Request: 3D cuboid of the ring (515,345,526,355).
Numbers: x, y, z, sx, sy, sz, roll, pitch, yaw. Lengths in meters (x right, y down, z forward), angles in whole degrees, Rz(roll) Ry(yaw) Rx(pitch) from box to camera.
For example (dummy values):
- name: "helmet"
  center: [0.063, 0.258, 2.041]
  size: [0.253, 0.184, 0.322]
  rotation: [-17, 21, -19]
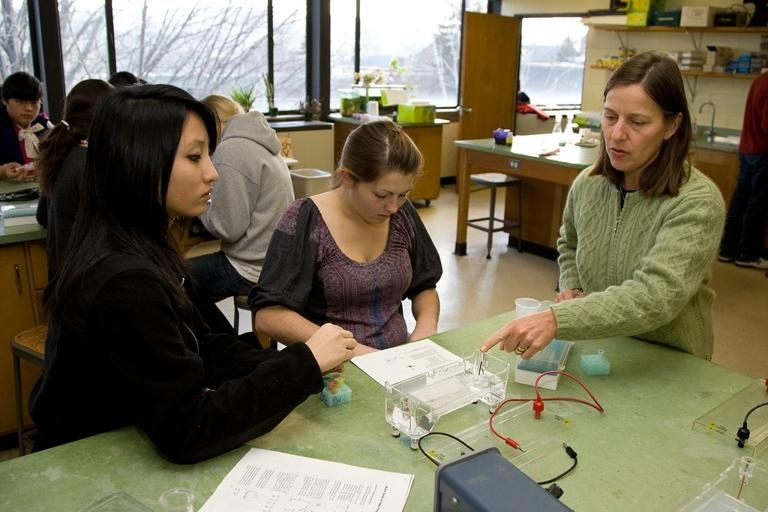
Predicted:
- name: "ring"
  center: [0.445, 0.313, 1.727]
  size: [0.027, 0.010, 0.027]
  rotation: [-10, 50, 13]

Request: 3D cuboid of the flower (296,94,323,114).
- name: "flower"
  center: [-0.954, -1.961, 6.921]
  size: [0.256, 0.163, 0.345]
  rotation: [2, 11, 16]

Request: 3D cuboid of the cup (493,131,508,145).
- name: "cup"
  center: [1.178, -1.209, 5.404]
  size: [0.155, 0.127, 0.117]
  rotation: [9, 31, 23]

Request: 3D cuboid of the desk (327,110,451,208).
- name: "desk"
  center: [0.197, -1.269, 6.892]
  size: [0.847, 1.207, 1.263]
  rotation: [28, 26, 35]

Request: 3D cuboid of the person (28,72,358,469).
- name: "person"
  center: [-0.476, -0.099, 1.829]
  size: [1.033, 1.244, 0.853]
  rotation: [-1, 20, -13]

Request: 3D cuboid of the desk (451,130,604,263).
- name: "desk"
  center: [1.572, -0.510, 5.432]
  size: [1.432, 1.187, 1.223]
  rotation: [21, 24, 40]

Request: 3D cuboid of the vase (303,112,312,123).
- name: "vase"
  center: [-0.976, -1.772, 6.787]
  size: [0.110, 0.114, 0.207]
  rotation: [2, 5, -3]
